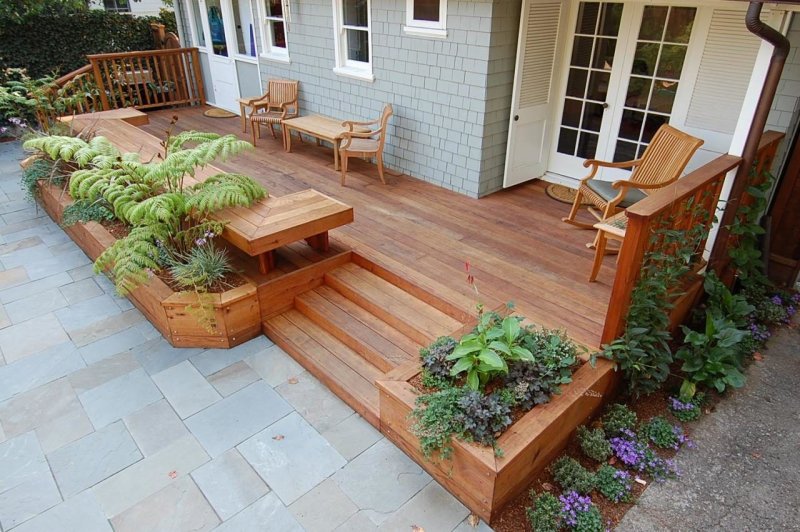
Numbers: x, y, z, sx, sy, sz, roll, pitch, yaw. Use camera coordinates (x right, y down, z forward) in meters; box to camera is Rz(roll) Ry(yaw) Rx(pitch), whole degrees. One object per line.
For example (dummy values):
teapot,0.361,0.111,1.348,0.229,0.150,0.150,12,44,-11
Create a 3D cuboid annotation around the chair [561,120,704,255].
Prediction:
chair,2.748,-0.947,5.588,1.190,1.276,1.035,11,33,16
